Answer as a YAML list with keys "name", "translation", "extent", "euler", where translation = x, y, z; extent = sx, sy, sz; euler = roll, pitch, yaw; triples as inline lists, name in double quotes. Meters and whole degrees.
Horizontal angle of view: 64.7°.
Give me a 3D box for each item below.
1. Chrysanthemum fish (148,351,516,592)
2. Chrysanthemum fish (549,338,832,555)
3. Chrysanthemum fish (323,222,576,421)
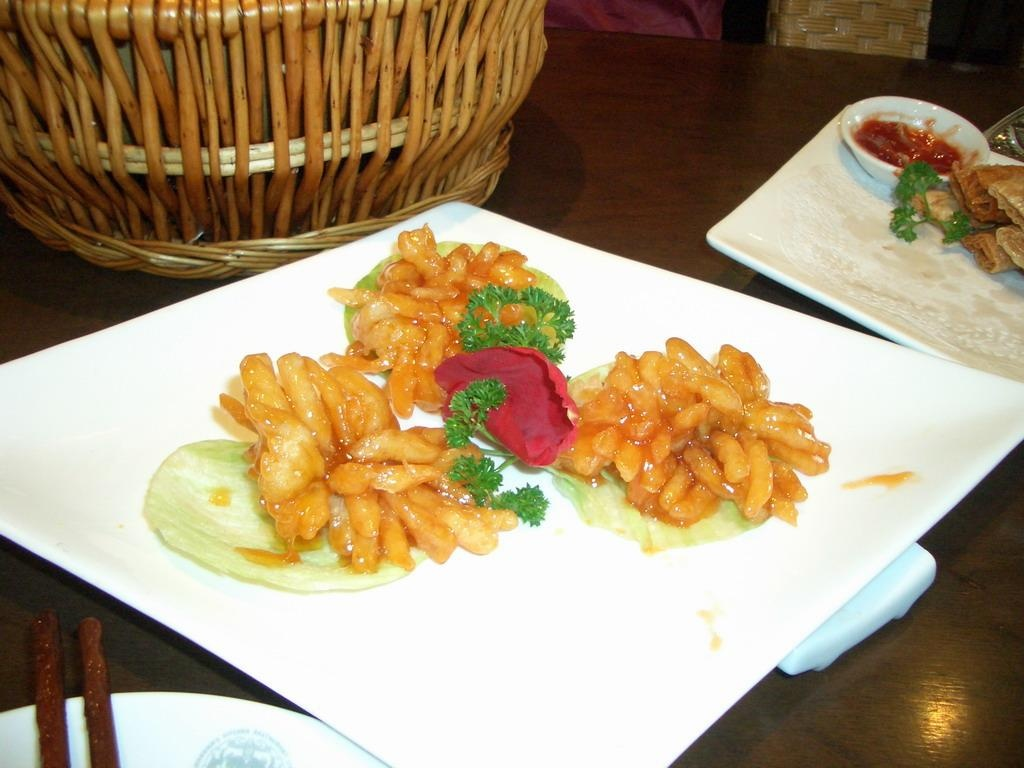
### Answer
- name: "Chrysanthemum fish"
  translation: [-0.289, 0.163, 1.348]
  extent: [0.550, 0.165, 0.380]
  euler: [15, 68, 2]
- name: "Chrysanthemum fish"
  translation: [0.304, 0.115, 1.383]
  extent: [0.385, 0.153, 0.383]
  euler: [37, 75, 24]
- name: "Chrysanthemum fish"
  translation: [-0.275, -0.158, 1.756]
  extent: [0.550, 0.570, 0.221]
  euler: [-27, 95, -16]
